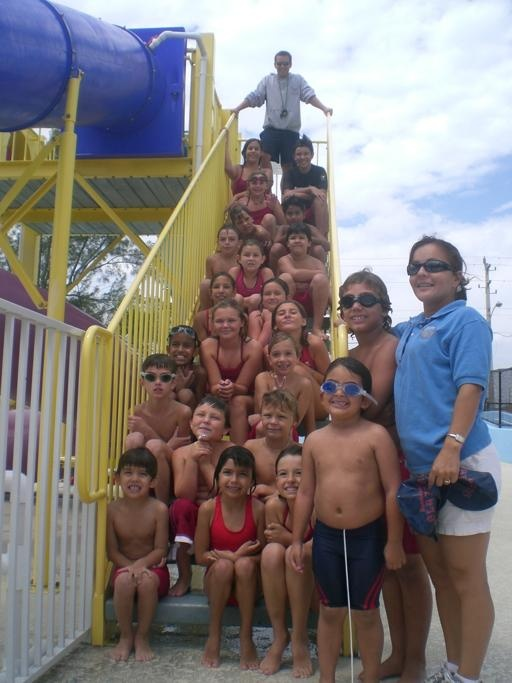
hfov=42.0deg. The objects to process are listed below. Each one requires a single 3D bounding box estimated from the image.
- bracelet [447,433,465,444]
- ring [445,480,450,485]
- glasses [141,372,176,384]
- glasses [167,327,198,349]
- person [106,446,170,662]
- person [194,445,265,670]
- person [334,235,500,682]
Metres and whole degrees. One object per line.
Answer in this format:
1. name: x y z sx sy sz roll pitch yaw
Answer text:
1. bracelet: 0.697 0.330 2.326 0.043 0.017 0.039 21 -6 -4
2. ring: 0.669 0.490 2.339 0.018 0.013 0.018 0 -2 0
3. glasses: -0.524 0.195 3.579 0.165 0.060 0.089 3 -7 -10
4. glasses: -0.465 -0.032 4.236 0.181 0.127 0.140 3 -7 -11
5. person: -0.529 0.920 3.011 0.296 0.864 0.484 3 -6 -11
6. person: -0.118 0.910 2.971 0.317 0.870 0.495 2 -6 -5
7. person: 0.698 0.431 2.499 0.400 1.748 0.437 0 -6 18
